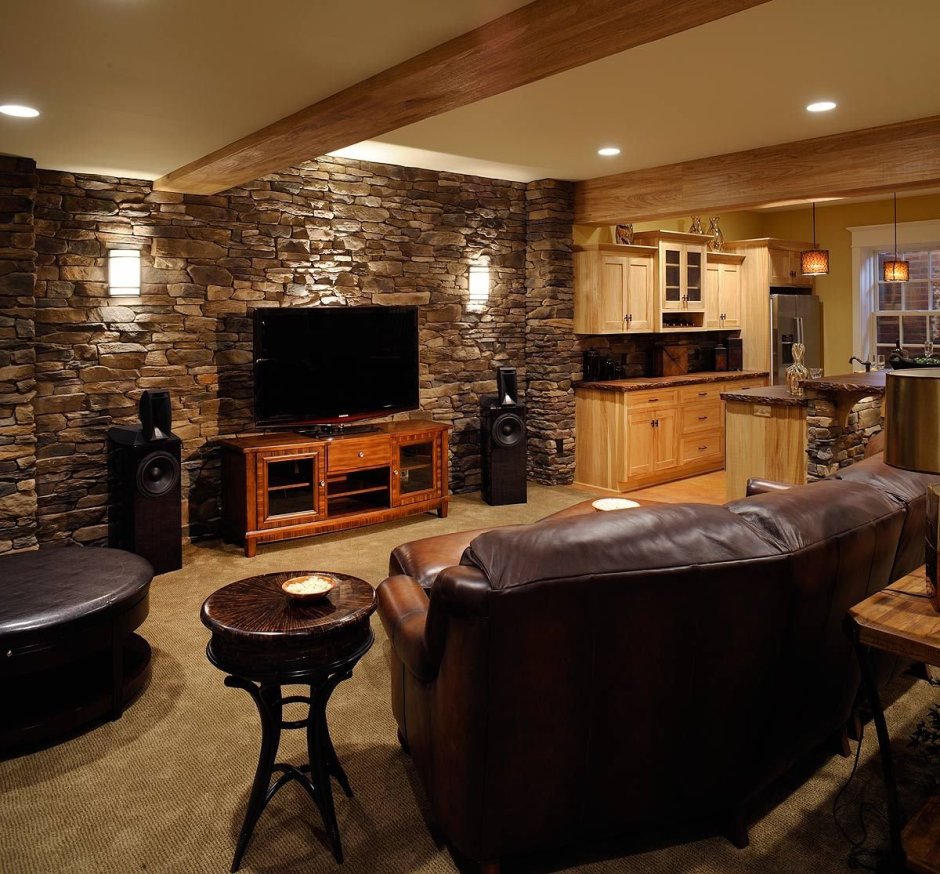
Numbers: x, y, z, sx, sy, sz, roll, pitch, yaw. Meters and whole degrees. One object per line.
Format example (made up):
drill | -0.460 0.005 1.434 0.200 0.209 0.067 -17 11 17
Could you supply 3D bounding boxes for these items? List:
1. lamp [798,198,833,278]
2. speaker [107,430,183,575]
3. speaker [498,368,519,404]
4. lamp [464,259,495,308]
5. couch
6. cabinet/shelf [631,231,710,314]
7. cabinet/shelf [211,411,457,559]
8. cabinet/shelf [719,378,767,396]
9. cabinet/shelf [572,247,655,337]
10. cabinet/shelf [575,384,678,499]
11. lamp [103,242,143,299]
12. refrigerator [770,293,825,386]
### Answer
lamp | 3.816 -2.214 7.940 0.302 0.875 1.735 2 10 26
speaker | -2.072 0.380 4.562 0.353 0.863 0.615 -11 13 -39
speaker | 0.322 -0.420 6.035 0.144 0.284 0.108 -4 10 -6
lamp | 0.106 -1.339 6.338 0.095 0.478 0.311 6 13 41
couch | 0.564 0.641 2.066 1.389 1.002 0.506 -7 10 -24
cabinet/shelf | 1.974 -1.635 7.166 1.016 0.781 0.409 -9 15 -33
cabinet/shelf | -0.943 0.307 5.331 1.670 0.634 0.492 -6 12 -39
cabinet/shelf | 2.557 -0.475 6.792 0.367 0.150 0.104 -10 19 -35
cabinet/shelf | 1.305 -1.353 6.677 0.987 0.782 0.431 -6 8 -39
cabinet/shelf | 1.390 0.032 6.591 1.104 0.899 0.637 -5 11 -35
lamp | -2.230 -1.065 4.656 0.235 0.334 0.099 -8 11 -29
refrigerator | 3.717 -1.144 8.213 0.339 0.966 1.005 6 13 43
